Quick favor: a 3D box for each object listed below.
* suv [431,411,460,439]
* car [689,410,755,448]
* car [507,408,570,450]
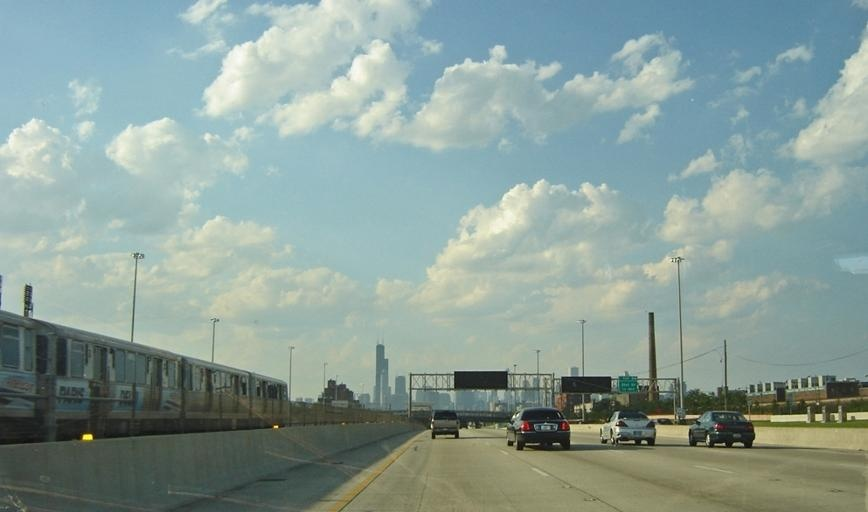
[{"bbox_3d":[0.805,12.806,73.000,1.886,1.985,3.965,0,-7,1],"label":"suv"},{"bbox_3d":[16.096,9.706,54.406,3.331,2.320,2.250,-18,-23,39],"label":"car"},{"bbox_3d":[5.620,9.581,53.096,2.487,2.450,4.456,3,-19,-13],"label":"car"}]
